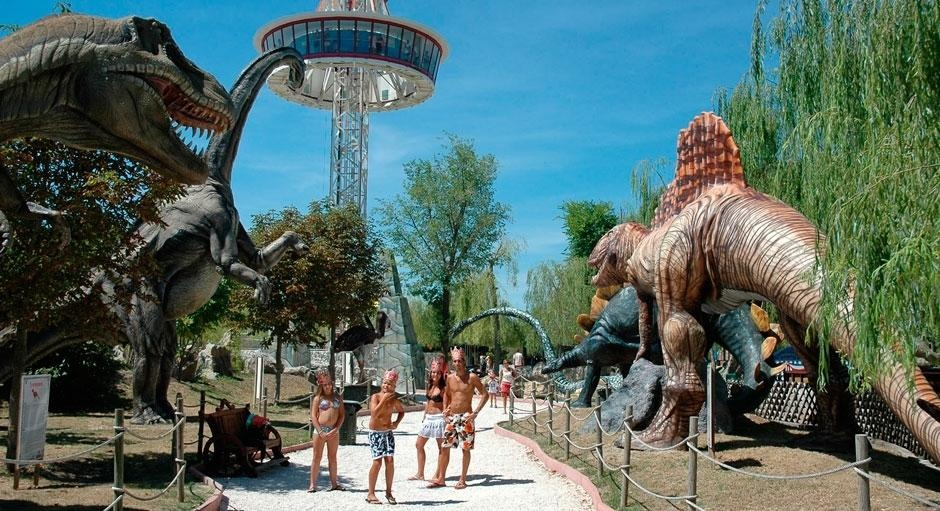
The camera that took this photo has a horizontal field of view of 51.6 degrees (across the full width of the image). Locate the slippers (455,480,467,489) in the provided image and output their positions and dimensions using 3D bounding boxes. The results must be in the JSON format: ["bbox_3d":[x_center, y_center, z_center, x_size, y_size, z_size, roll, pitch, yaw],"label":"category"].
[{"bbox_3d":[-0.158,4.591,19.555,0.173,0.156,0.325,-7,-11,44],"label":"slippers"}]

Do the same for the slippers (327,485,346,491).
[{"bbox_3d":[-2.642,4.626,19.321,0.228,0.067,0.118,0,-4,-6],"label":"slippers"}]

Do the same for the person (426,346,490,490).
[{"bbox_3d":[-0.232,3.334,20.292,1.080,2.842,1.403,1,-8,0],"label":"person"}]

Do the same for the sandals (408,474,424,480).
[{"bbox_3d":[-1.097,4.557,20.024,0.237,0.085,0.127,11,-16,-40],"label":"sandals"}]

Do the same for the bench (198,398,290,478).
[{"bbox_3d":[-4.712,3.796,20.528,1.199,1.547,2.134,2,-4,11],"label":"bench"}]

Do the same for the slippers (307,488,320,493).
[{"bbox_3d":[-3.089,4.613,19.114,0.235,0.056,0.141,5,-9,-32],"label":"slippers"}]

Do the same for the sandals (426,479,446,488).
[{"bbox_3d":[-0.706,4.597,19.612,0.308,0.108,0.156,6,-10,-21],"label":"sandals"}]

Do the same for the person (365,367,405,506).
[{"bbox_3d":[-1.692,3.542,19.236,0.651,2.515,1.088,1,-8,-4],"label":"person"}]

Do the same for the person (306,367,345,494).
[{"bbox_3d":[-2.920,3.547,19.855,0.673,2.368,1.235,2,-8,-9],"label":"person"}]
